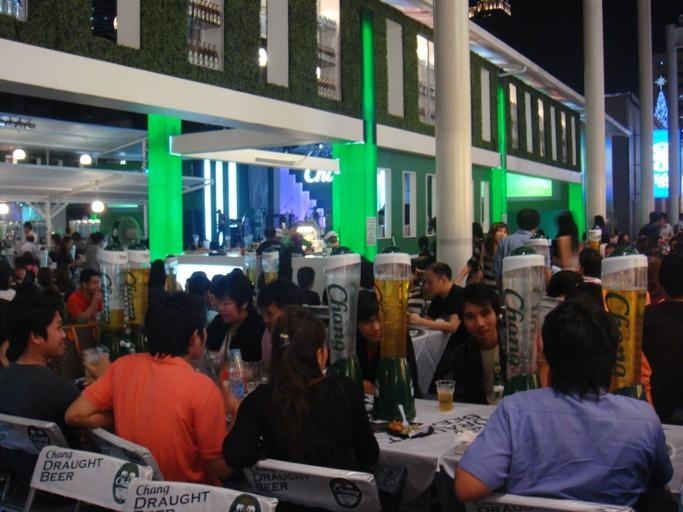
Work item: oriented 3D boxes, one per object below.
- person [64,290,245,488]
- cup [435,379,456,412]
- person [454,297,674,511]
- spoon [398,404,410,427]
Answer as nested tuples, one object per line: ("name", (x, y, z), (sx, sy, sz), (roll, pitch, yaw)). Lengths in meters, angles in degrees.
("person", (-0.741, 0.683, 2.391), (0.679, 0.976, 0.402), (3, 10, -4))
("cup", (0.518, 0.696, 2.915), (0.124, 0.170, 0.126), (0, 4, 0))
("person", (0.702, 0.463, 1.835), (0.690, 0.637, 0.168), (-1, -2, -7))
("spoon", (0.283, 0.729, 2.643), (0.030, 0.125, 0.016), (-23, 38, -15))
